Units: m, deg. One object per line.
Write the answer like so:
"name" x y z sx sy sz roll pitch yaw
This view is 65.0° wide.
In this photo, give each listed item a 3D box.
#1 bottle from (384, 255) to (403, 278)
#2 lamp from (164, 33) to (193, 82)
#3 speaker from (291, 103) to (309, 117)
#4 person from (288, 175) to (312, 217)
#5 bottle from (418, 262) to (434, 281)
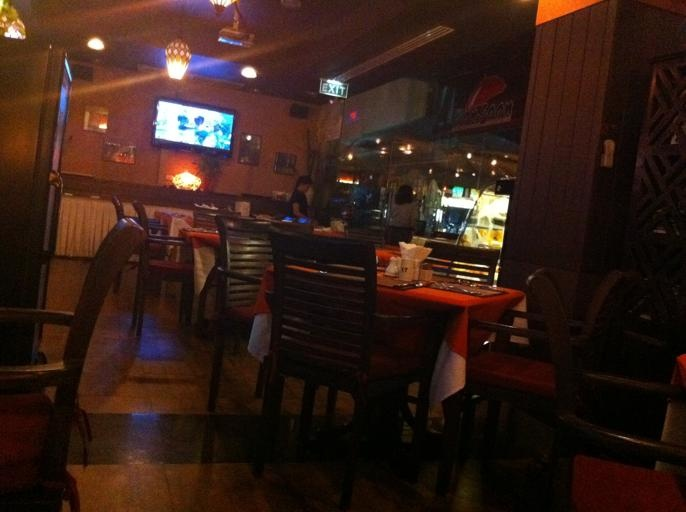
"bottle" 0.293 0.068 3.057 0.090 0.103 0.102 7 3 -25
"lamp" -1.827 -2.225 6.100 0.302 0.467 0.287 19 4 42
"speaker" -0.898 -2.991 11.137 0.403 0.295 0.103 5 7 -11
"person" -0.766 -1.050 9.623 0.398 1.218 0.476 3 31 2
"bottle" 0.461 0.094 3.100 0.089 0.135 0.092 3 -2 0
